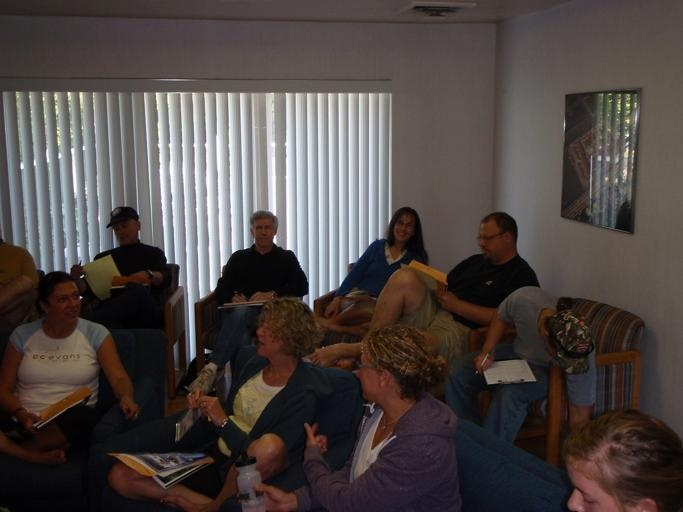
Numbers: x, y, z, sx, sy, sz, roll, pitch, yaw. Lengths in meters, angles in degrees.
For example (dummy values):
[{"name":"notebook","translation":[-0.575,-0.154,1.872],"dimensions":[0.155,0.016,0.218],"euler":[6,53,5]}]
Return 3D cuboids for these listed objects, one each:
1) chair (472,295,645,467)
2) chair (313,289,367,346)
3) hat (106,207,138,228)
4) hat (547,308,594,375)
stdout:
[{"name":"chair","translation":[1.417,0.772,3.386],"dimensions":[0.818,0.985,0.842],"euler":[15,-13,-39]},{"name":"chair","translation":[-0.050,0.480,4.498],"dimensions":[0.385,0.385,0.328],"euler":[8,-3,29]},{"name":"hat","translation":[-1.894,-0.365,4.789],"dimensions":[0.166,0.122,0.236],"euler":[-13,-12,12]},{"name":"hat","translation":[1.223,0.474,2.952],"dimensions":[0.235,0.380,0.135],"euler":[-1,7,-5]}]
